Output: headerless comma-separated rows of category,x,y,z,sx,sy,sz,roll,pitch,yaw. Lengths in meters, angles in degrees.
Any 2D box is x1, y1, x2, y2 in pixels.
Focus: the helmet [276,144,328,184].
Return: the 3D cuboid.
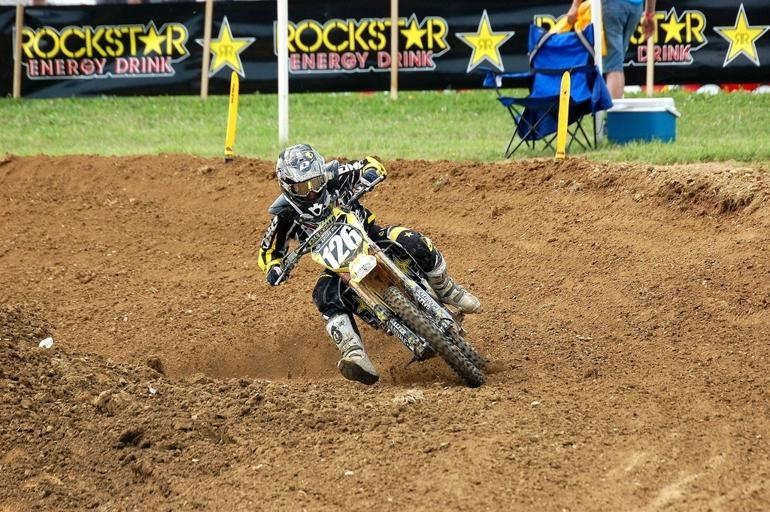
helmet,-1.051,-1.094,13.336,0.432,0.472,0.529,-27,-2,-8
